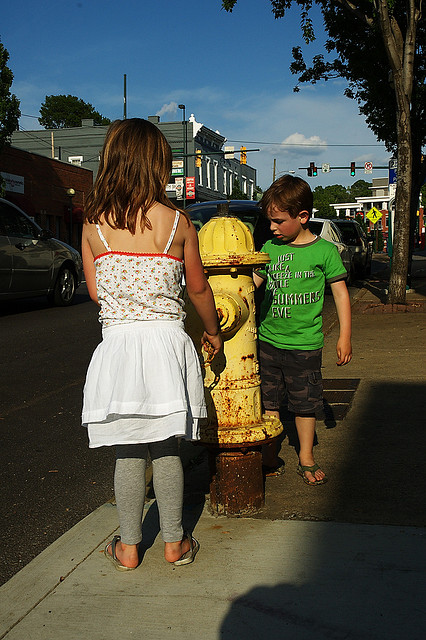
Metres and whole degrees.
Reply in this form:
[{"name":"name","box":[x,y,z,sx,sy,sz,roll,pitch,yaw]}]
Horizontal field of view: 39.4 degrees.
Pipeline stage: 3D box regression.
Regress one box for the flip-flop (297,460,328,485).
[{"name":"flip-flop","box":[0.482,0.756,2.911,0.067,0.045,0.156,-2,2,-16]}]

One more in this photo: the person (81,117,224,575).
[{"name":"person","box":[-0.206,0.082,1.934,0.455,1.450,0.372,-3,0,0]}]

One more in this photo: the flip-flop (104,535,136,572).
[{"name":"flip-flop","box":[-0.321,0.786,2.006,0.054,0.041,0.140,2,11,-24]}]

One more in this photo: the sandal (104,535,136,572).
[{"name":"sandal","box":[-0.320,0.785,2.003,0.053,0.041,0.139,2,12,-25]}]

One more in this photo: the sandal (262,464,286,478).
[{"name":"sandal","box":[0.308,0.770,3.014,0.122,0.045,0.043,-1,0,-12]}]

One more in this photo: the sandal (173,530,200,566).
[{"name":"sandal","box":[-0.097,0.779,2.013,0.042,0.039,0.112,-2,20,14]}]

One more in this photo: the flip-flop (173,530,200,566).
[{"name":"flip-flop","box":[-0.096,0.787,2.053,0.049,0.045,0.130,-3,12,11]}]

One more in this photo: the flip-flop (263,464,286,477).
[{"name":"flip-flop","box":[0.304,0.770,3.014,0.119,0.043,0.042,0,1,-8]}]

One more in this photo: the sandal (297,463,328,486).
[{"name":"sandal","box":[0.485,0.751,2.915,0.150,0.100,0.163,-3,0,7]}]
